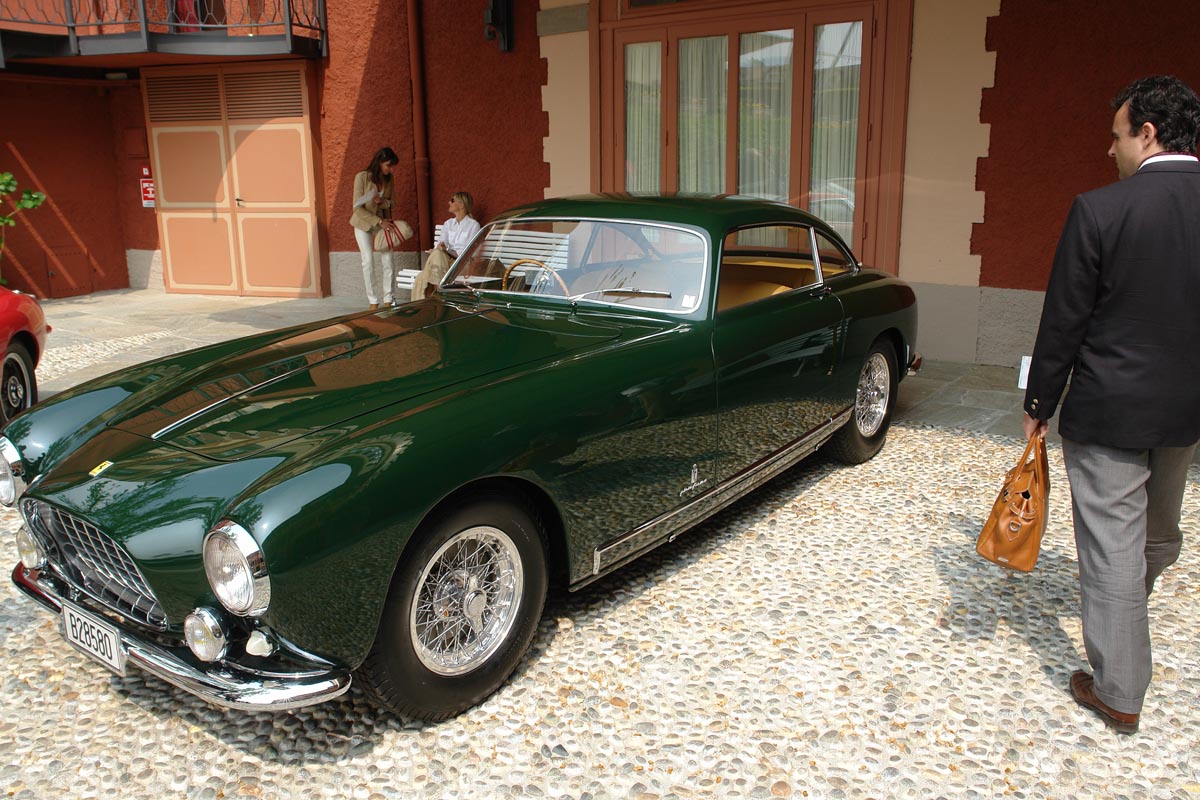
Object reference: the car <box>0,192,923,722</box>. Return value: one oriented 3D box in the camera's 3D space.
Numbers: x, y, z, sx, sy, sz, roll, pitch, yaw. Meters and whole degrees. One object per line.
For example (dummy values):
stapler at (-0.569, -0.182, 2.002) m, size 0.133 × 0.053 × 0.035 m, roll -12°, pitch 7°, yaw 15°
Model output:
car at (-0.250, -0.168, 4.405) m, size 5.483 × 2.168 × 2.220 m, roll -16°, pitch 20°, yaw -42°

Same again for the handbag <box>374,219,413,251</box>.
handbag at (-3.122, -2.495, 10.576) m, size 0.418 × 0.170 × 0.582 m, roll -13°, pitch 17°, yaw 19°

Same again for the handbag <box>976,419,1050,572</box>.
handbag at (1.970, 0.435, 3.301) m, size 0.247 × 0.616 × 0.656 m, roll 18°, pitch 15°, yaw 26°
